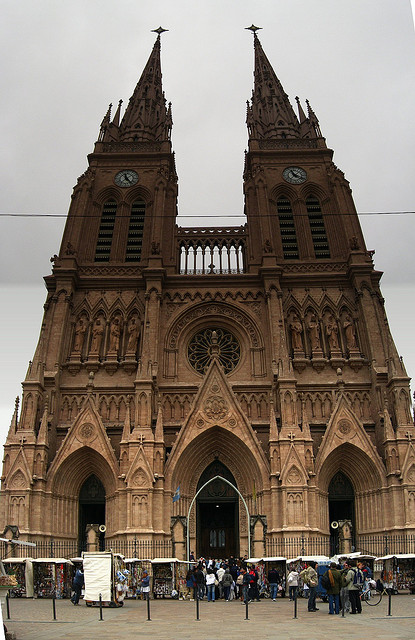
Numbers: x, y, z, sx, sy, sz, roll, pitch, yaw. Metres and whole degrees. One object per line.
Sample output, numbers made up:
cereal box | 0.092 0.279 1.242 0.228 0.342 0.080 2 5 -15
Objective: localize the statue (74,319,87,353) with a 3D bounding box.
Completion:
statue | -7.516 0.962 36.770 0.619 2.098 0.613 3 -20 -11

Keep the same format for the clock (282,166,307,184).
clock | 6.132 -10.194 44.515 1.787 1.773 0.135 1 -41 0

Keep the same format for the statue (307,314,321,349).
statue | 6.206 0.771 36.519 0.715 2.227 0.646 15 -25 -37

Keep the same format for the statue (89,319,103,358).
statue | -6.550 1.012 36.702 0.692 2.335 0.760 2 -20 -9

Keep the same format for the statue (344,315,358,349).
statue | 8.302 0.712 36.536 0.642 2.275 0.763 -8 -21 17

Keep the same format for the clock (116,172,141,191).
clock | -5.648 -9.685 44.406 1.936 1.920 0.097 -5 -44 -4

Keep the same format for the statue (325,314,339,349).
statue | 7.242 0.715 36.568 0.635 2.355 0.808 2 -20 -9

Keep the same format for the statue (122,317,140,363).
statue | -4.391 1.392 36.276 0.765 2.560 0.879 -1 -20 -2

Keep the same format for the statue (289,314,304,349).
statue | 5.126 0.962 36.274 0.698 1.737 0.553 -4 -20 6

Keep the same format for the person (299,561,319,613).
person | 2.852 7.232 17.016 0.727 1.204 0.407 -4 -17 3

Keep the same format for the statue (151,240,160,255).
statue | -3.297 -4.481 39.337 0.519 0.839 0.307 -1 -27 1
